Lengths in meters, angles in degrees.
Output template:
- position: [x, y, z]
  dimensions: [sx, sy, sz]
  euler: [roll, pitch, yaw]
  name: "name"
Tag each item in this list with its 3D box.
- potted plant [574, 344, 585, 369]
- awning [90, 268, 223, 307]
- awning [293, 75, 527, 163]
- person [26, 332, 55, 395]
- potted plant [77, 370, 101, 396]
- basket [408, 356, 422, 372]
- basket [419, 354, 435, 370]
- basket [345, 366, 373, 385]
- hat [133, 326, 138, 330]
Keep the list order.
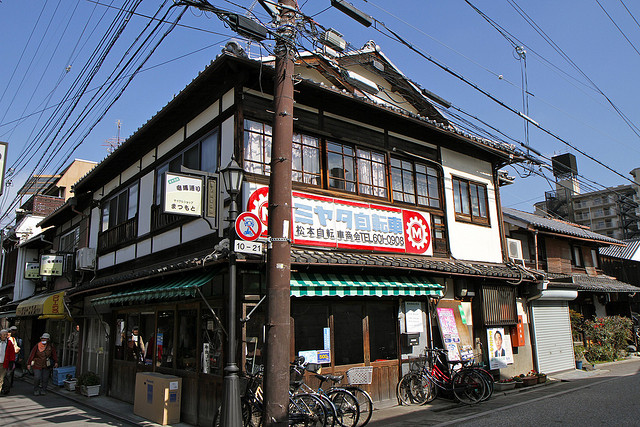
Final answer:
- position: [11.835, 6.552, 22.593]
  dimensions: [0.342, 0.971, 0.882]
  euler: [-7, -10, 33]
  name: "potted plant"
- position: [-5.242, 2.393, 16.165]
  dimensions: [5.356, 0.968, 0.802]
  euler: [-9, -11, 41]
  name: "awning"
- position: [3.322, -3.336, 18.454]
  dimensions: [9.585, 1.732, 0.879]
  euler: [3, -10, -31]
  name: "awning"
- position: [-11.164, 6.029, 19.799]
  dimensions: [0.862, 2.377, 0.841]
  euler: [3, -10, -27]
  name: "person"
- position: [-8.836, 6.685, 19.542]
  dimensions: [0.798, 0.852, 0.734]
  euler: [-7, -13, 11]
  name: "potted plant"
- position: [3.294, 5.217, 17.245]
  dimensions: [0.553, 0.508, 0.162]
  euler: [6, -11, -41]
  name: "basket"
- position: [3.781, 5.187, 17.410]
  dimensions: [0.549, 0.539, 0.399]
  euler: [-6, -17, 25]
  name: "basket"
- position: [1.213, 4.968, 15.174]
  dimensions: [0.619, 0.367, 0.494]
  euler: [-2, -36, 4]
  name: "basket"
- position: [-6.857, 4.232, 18.313]
  dimensions: [0.256, 0.115, 0.077]
  euler: [-9, -12, 42]
  name: "hat"
